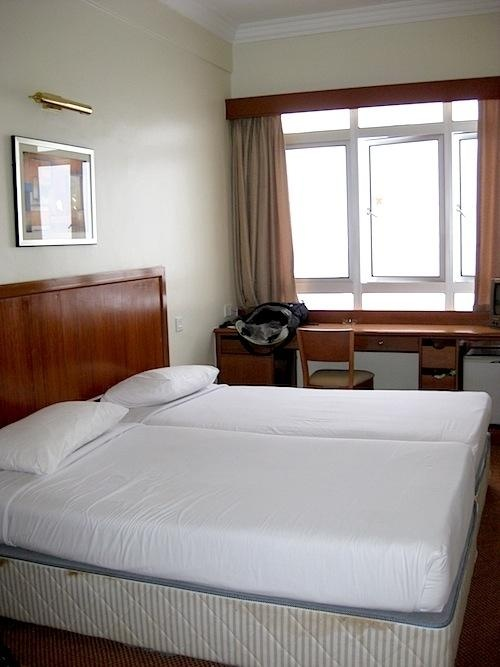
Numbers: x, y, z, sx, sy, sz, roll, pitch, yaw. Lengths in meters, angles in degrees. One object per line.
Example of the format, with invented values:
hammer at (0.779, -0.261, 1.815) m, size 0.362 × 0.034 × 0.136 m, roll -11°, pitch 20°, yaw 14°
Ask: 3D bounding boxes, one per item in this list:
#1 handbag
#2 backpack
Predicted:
handbag at (0.205, -0.076, 4.100) m, size 0.588 × 0.248 × 0.478 m, roll 0°, pitch -27°, yaw -22°
backpack at (0.159, -0.082, 3.978) m, size 0.374 × 0.170 × 0.423 m, roll 11°, pitch 33°, yaw 33°
